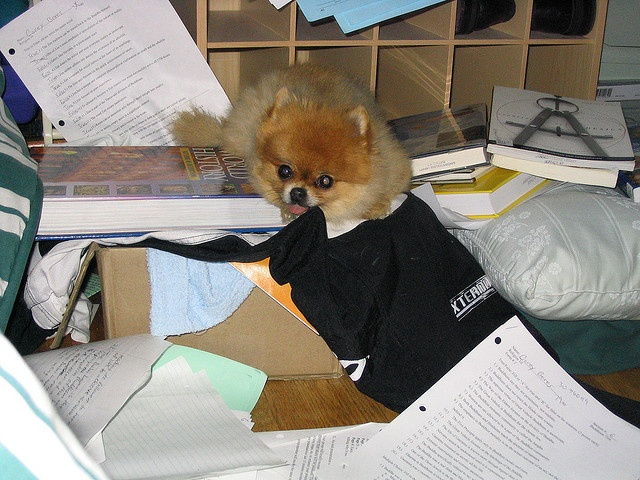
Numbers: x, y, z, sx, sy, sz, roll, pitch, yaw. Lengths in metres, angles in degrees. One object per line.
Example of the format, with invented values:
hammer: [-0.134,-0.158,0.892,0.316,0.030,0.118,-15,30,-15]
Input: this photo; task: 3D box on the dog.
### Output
dog: [-0.042,-0.159,1.298,0.471,0.385,0.250,9,-28,-2]

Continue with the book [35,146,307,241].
book: [-0.341,-0.100,1.018,0.305,0.080,0.332,1,19,-11]

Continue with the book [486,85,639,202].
book: [0.534,-0.201,1.225,0.312,0.077,0.314,8,44,9]

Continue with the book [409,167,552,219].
book: [0.392,-0.114,1.160,0.245,0.085,0.162,-10,17,-14]
